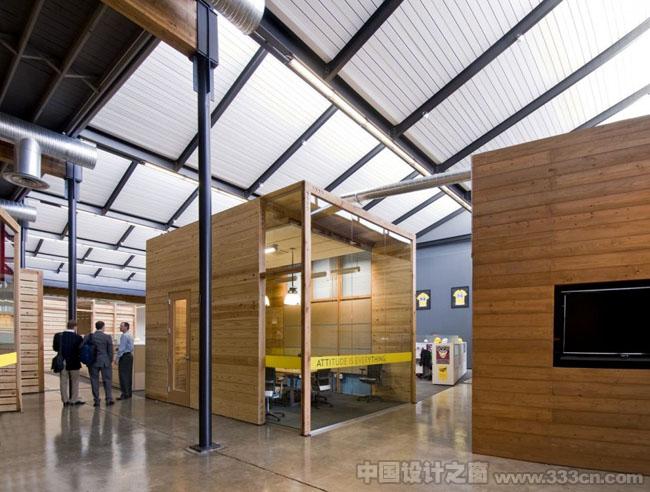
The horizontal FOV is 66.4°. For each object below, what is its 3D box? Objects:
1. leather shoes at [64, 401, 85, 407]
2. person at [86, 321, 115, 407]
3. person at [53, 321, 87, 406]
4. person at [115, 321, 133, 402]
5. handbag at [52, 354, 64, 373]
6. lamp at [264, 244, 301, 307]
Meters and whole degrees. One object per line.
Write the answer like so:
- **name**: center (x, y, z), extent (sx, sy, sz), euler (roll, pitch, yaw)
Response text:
- **leather shoes**: center (-5.427, 3.367, 10.832), extent (0.377, 0.159, 0.135), euler (2, -8, -31)
- **person**: center (-5.107, 2.597, 11.382), extent (0.544, 1.890, 1.479), euler (1, -3, -24)
- **person**: center (-5.613, 2.556, 10.931), extent (0.625, 1.825, 0.760), euler (1, -3, -26)
- **person**: center (-4.783, 2.697, 11.921), extent (0.343, 1.763, 0.955), euler (1, -3, -20)
- **handbag**: center (-5.712, 2.480, 10.645), extent (0.206, 0.405, 0.322), euler (2, -3, -32)
- **lamp**: center (-0.700, 0.560, 9.039), extent (0.240, 1.033, 0.944), euler (1, -3, -30)
